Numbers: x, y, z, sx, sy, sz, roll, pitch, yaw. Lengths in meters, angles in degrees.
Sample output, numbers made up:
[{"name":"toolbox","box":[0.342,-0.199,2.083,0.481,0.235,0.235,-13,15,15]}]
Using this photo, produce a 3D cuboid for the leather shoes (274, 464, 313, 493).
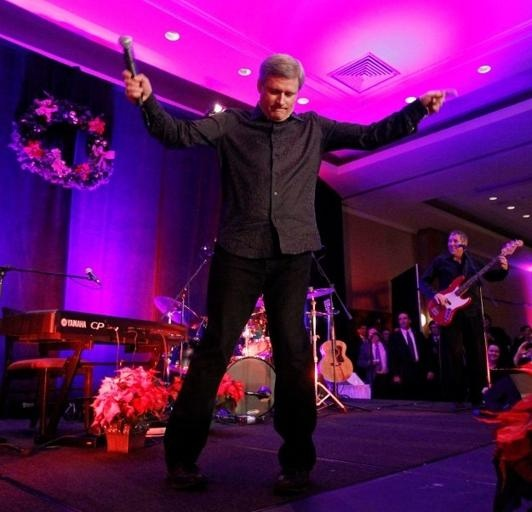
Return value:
[{"name":"leather shoes","box":[0.087,0.673,1.396,0.089,0.054,0.185,-2,-14,12]}]

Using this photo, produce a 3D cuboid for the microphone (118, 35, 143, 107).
[{"name":"microphone","box":[-0.361,-0.516,1.203,0.032,0.039,0.111,11,-41,18]}]

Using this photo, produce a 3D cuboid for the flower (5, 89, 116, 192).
[{"name":"flower","box":[-2.357,-1.616,5.324,0.857,0.285,0.825,18,28,3]}]

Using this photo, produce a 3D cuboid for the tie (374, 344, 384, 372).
[{"name":"tie","box":[1.831,1.626,7.304,0.076,0.328,0.232,8,-16,11]}]

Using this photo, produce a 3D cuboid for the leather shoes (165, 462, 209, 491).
[{"name":"leather shoes","box":[-0.244,0.667,1.391,0.138,0.057,0.059,-12,-22,32]}]

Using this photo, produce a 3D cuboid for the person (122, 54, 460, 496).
[{"name":"person","box":[-0.100,0.020,1.459,0.614,1.342,0.357,4,-13,-11]}]

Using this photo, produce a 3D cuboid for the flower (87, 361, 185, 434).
[{"name":"flower","box":[-0.639,0.685,2.231,0.381,0.278,0.392,6,13,36]}]

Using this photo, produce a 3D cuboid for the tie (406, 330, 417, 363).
[{"name":"tie","box":[2.383,1.433,7.387,0.087,0.382,0.275,-7,7,-3]}]

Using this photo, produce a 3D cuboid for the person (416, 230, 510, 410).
[{"name":"person","box":[1.865,0.598,4.137,0.601,1.693,0.426,-6,19,21]}]
